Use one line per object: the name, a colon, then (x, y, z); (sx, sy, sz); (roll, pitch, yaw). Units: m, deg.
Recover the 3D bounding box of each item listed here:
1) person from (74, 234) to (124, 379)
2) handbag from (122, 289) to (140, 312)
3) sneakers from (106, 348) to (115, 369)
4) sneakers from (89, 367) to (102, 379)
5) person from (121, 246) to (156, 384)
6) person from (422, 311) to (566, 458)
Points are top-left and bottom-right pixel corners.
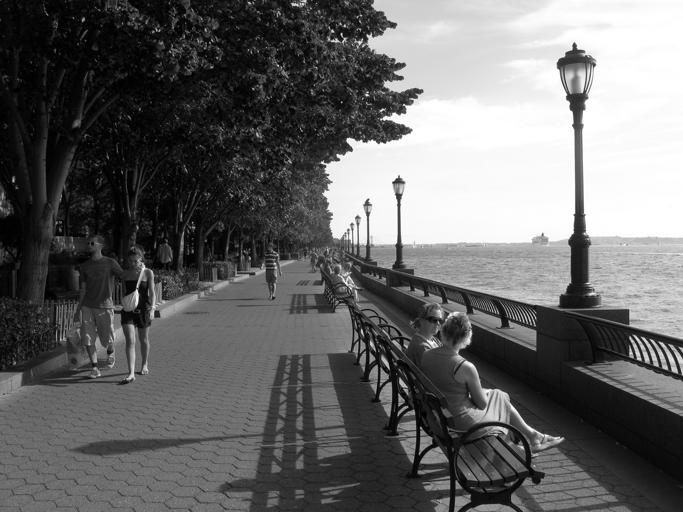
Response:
person: (-3.830, 0.785, 10.219); (0.681, 2.171, 0.858); (-3, 2, -29)
handbag: (-3.167, 0.687, 9.846); (0.258, 0.394, 0.176); (4, 7, -3)
sneakers: (-3.782, 1.700, 10.751); (0.110, 0.381, 0.140); (-4, 10, -11)
sneakers: (-3.828, 1.820, 10.124); (0.102, 0.144, 0.301); (5, 0, -14)
person: (-3.152, 0.883, 9.984); (0.617, 1.997, 0.539); (-4, 3, -39)
person: (1.555, 1.340, 6.488); (1.396, 1.581, 0.628); (1, 2, -14)
